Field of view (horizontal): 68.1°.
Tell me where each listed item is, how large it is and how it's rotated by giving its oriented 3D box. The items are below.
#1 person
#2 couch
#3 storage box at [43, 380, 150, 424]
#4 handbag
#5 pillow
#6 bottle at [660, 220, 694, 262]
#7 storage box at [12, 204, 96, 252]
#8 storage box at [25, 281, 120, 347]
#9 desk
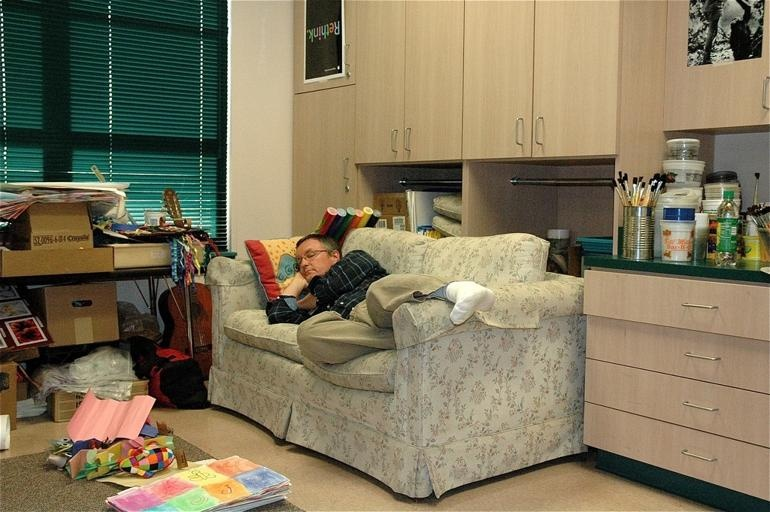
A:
[{"bbox_3d":[-0.024,0.225,3.035,1.453,0.565,0.800,5,17,45],"label":"person"},{"bbox_3d":[-0.039,0.441,3.509,1.313,1.087,2.230,-4,6,-41],"label":"couch"},{"bbox_3d":[-1.809,0.825,3.616,0.533,0.187,0.338,-2,26,-31],"label":"storage box"},{"bbox_3d":[-1.370,0.745,3.741,0.539,0.332,0.219,30,12,32],"label":"handbag"},{"bbox_3d":[-0.702,0.073,3.639,0.402,0.357,0.103,-5,-26,-49],"label":"pillow"},{"bbox_3d":[1.416,-0.074,2.767,0.194,0.196,0.190,1,3,20],"label":"bottle"},{"bbox_3d":[-1.987,-0.171,3.433,0.321,0.197,0.429,-1,3,-24],"label":"storage box"},{"bbox_3d":[-2.042,0.403,3.706,0.516,0.317,0.502,-3,-7,-35],"label":"storage box"},{"bbox_3d":[-2.000,0.553,3.834,0.690,0.779,1.221,-7,-5,18],"label":"desk"}]
